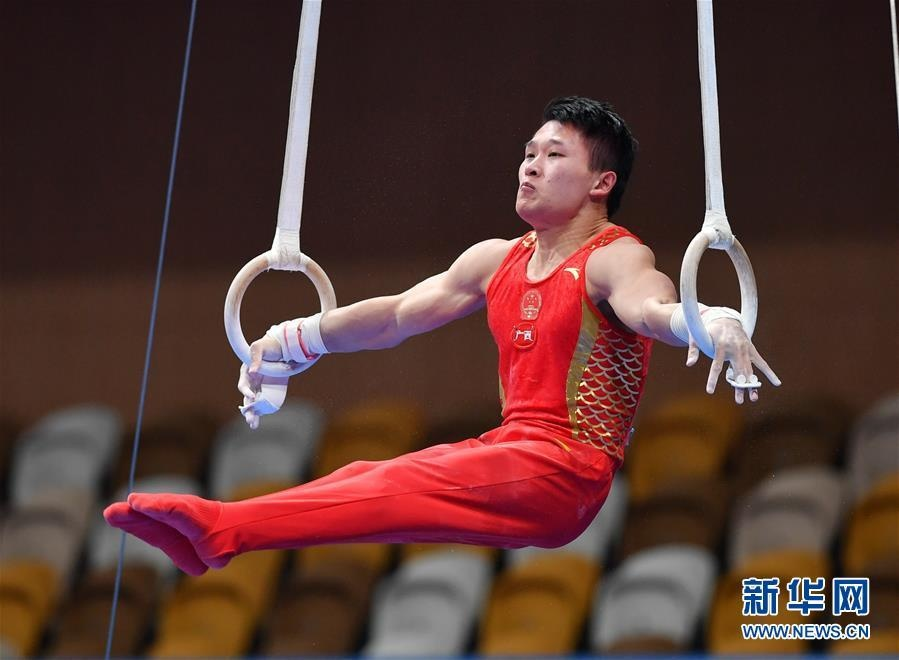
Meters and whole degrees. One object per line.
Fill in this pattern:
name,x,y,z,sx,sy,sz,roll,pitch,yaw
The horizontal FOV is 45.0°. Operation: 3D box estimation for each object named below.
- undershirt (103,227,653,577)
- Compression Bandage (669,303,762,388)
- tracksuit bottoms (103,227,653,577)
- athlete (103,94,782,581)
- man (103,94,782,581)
undershirt,-0.048,0.161,2.842,0.886,0.591,0.982,1,-14,-10
Compression Bandage,0.591,0.033,2.414,0.195,0.221,0.136,6,-19,-8
tracksuit bottoms,-0.121,0.116,2.700,1.260,0.826,1.324,3,-1,-23
athlete,-0.099,-0.002,2.577,1.271,1.211,1.282,4,-4,-14
man,0.048,-0.005,2.615,1.391,1.185,0.984,2,-5,7
